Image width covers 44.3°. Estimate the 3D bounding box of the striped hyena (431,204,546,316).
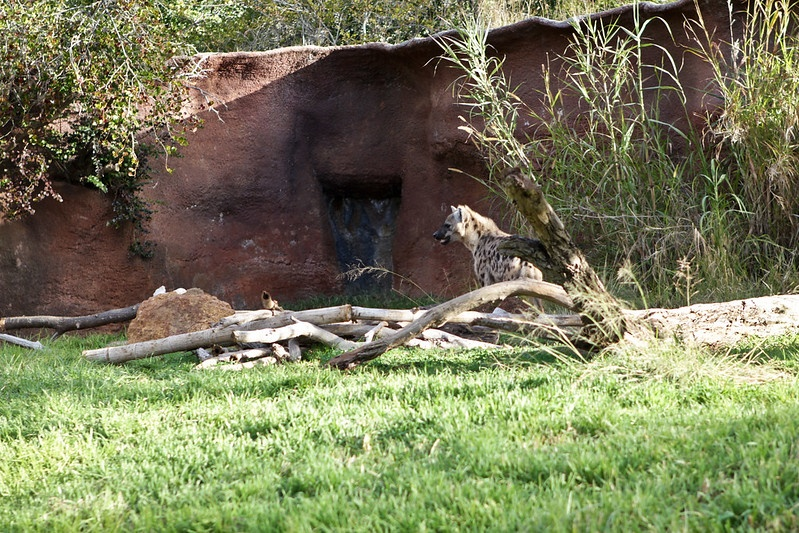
[{"bbox_3d":[1.419,-0.030,13.592,0.501,1.373,2.344,-10,19,-38],"label":"striped hyena"}]
